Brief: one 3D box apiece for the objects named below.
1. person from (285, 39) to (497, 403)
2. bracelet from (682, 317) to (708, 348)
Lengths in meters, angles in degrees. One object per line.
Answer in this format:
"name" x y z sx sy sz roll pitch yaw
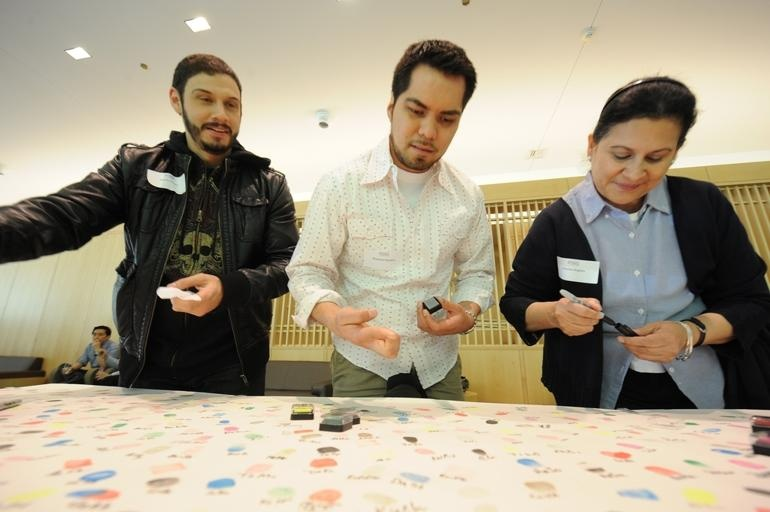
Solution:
"person" 0.083 -0.163 1.837 0.897 1.522 0.604 -3 5 -44
"bracelet" 1.226 0.281 1.599 0.038 0.095 0.097 -26 23 42
